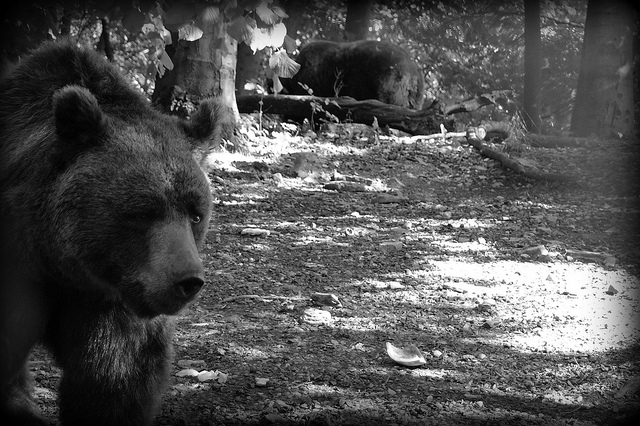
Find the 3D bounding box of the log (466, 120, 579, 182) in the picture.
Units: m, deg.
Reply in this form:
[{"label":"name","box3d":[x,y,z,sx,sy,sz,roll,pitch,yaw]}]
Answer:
[{"label":"log","box3d":[2.929,-0.900,10.349,0.964,0.272,1.370,3,28,-49]}]

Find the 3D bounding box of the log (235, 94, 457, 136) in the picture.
[{"label":"log","box3d":[0.521,-1.847,12.604,3.669,0.715,0.858,4,4,5]}]

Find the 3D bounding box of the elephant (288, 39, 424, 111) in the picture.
[{"label":"elephant","box3d":[0.499,-3.180,15.510,3.920,2.042,1.540,17,21,38]}]
